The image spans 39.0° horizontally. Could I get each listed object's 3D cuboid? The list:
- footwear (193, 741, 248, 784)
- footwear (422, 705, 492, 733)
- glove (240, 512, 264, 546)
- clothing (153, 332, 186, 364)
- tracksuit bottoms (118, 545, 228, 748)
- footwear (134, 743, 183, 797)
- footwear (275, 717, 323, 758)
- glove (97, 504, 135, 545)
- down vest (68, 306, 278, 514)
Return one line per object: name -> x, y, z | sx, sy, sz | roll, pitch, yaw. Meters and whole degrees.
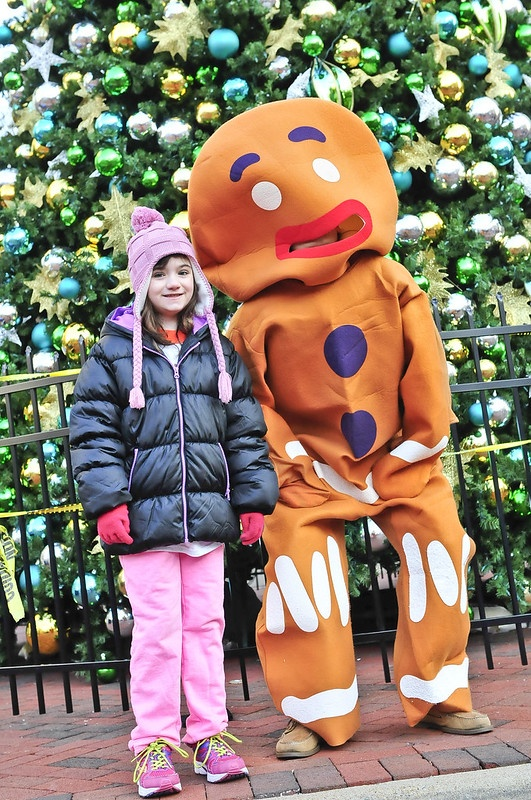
footwear -> -0.127, 0.992, 2.065 | 0.082, 0.077, 0.180 | 0, -13, -24
footwear -> 0.564, 0.949, 2.270 | 0.217, 0.079, 0.073 | -9, -6, 39
glove -> -0.045, 0.376, 2.183 | 0.074, 0.087, 0.044 | -1, 0, 4
clothing -> -0.276, -0.159, 2.255 | 0.081, 0.101, 0.029 | 1, -44, -13
tracksuit bottoms -> -0.239, 0.715, 2.140 | 0.326, 0.560, 0.239 | -2, -14, -24
footwear -> -0.288, 0.980, 1.993 | 0.110, 0.127, 0.134 | -6, -13, -10
footwear -> 0.090, 0.988, 2.173 | 0.131, 0.086, 0.114 | -8, -12, 2
glove -> -0.396, 0.336, 2.047 | 0.092, 0.109, 0.052 | -31, 0, 23
down vest -> -0.250, 0.041, 2.175 | 0.676, 0.699, 0.325 | 1, -16, -26
